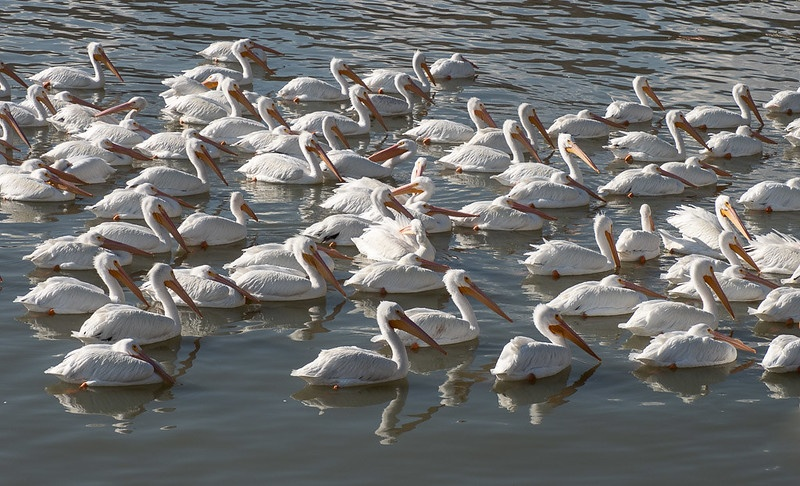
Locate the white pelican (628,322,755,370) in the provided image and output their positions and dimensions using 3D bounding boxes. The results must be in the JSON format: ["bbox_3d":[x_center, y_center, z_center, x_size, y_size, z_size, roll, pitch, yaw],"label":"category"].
[{"bbox_3d":[5.300,1.900,19.400,2.333,0.438,0.728,-3,11,-14],"label":"white pelican"}]

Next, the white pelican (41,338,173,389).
[{"bbox_3d":[-5.262,2.132,18.564,2.378,0.514,1.089,5,-3,-42],"label":"white pelican"}]
